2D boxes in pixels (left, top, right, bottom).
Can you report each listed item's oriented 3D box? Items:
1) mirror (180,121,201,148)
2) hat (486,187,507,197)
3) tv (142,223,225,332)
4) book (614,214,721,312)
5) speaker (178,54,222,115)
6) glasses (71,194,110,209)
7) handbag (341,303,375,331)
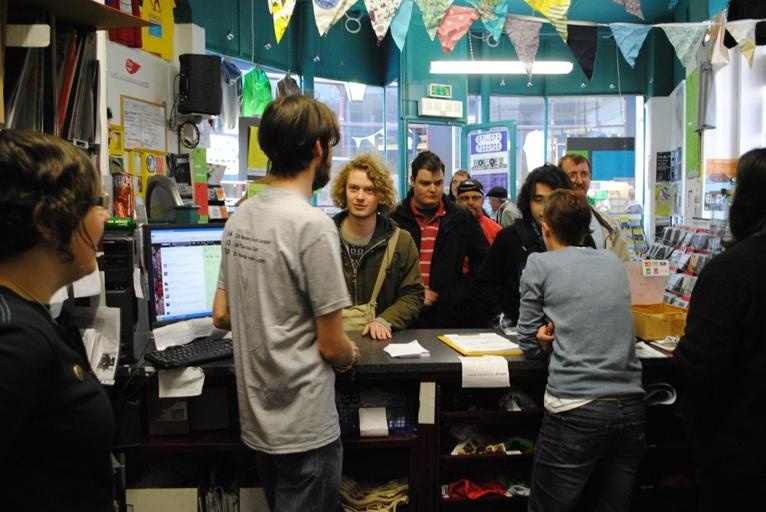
[{"bbox_3d":[-1.919,-1.211,6.398,0.236,0.248,0.073,-6,5,-40],"label":"mirror"},{"bbox_3d":[1.295,-0.743,7.455,0.137,0.072,0.181,-5,10,-24],"label":"hat"},{"bbox_3d":[-1.020,0.117,3.210,0.511,0.529,0.054,-9,9,-41],"label":"tv"},{"bbox_3d":[2.173,0.030,4.877,0.384,0.305,0.922,3,-27,-1],"label":"book"},{"bbox_3d":[-1.741,-1.625,6.057,0.389,0.550,0.180,-1,5,-19],"label":"speaker"},{"bbox_3d":[-1.016,-0.190,2.215,0.117,0.061,0.167,1,4,15],"label":"glasses"},{"bbox_3d":[-0.143,0.347,3.583,0.163,0.158,0.117,-1,-6,1],"label":"handbag"}]
